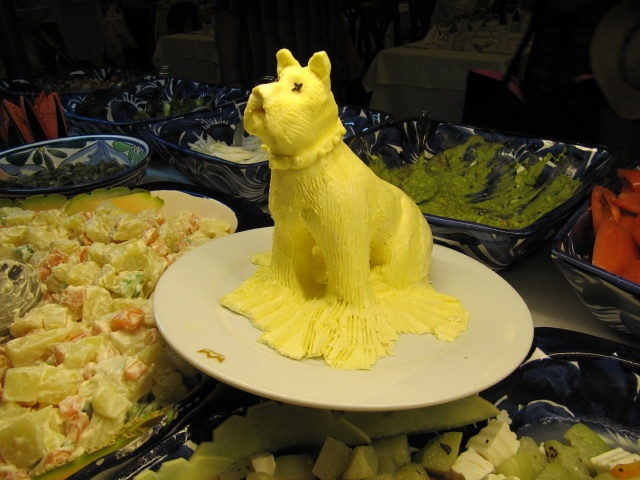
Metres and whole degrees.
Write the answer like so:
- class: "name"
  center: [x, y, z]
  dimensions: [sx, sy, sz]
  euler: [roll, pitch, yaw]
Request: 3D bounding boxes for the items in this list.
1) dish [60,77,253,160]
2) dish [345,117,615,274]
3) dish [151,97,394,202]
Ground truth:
- class: "dish"
  center: [-0.599, -0.477, 1.749]
  dimensions: [0.503, 0.147, 0.380]
  euler: [-14, 38, -23]
- class: "dish"
  center: [0.416, -0.159, 1.124]
  dimensions: [0.469, 0.134, 0.458]
  euler: [18, 45, 40]
- class: "dish"
  center: [-0.231, -0.274, 1.494]
  dimensions: [0.456, 0.129, 0.412]
  euler: [-17, 31, -31]
